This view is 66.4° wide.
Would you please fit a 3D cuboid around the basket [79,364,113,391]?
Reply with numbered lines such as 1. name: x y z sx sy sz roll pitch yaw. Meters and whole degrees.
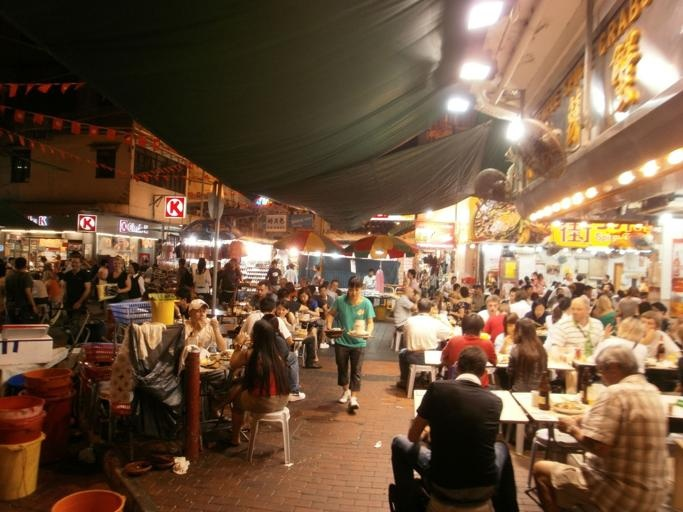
1. basket: -3.705 1.770 7.687 0.454 0.291 0.359 -1 -6 18

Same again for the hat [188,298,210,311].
1. hat: -2.212 0.732 7.847 0.229 0.116 0.172 -16 -12 42

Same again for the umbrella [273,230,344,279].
1. umbrella: -1.207 0.014 19.510 2.205 0.728 2.103 9 -8 -36

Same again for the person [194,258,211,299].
1. person: -4.265 0.688 15.744 0.475 1.189 0.979 -3 10 -19

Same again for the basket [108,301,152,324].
1. basket: -3.220 0.863 7.934 0.441 0.221 0.661 0 2 -14

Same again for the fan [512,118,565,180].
1. fan: 3.286 -1.779 8.660 0.223 1.087 1.071 -18 37 -12

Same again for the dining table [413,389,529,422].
1. dining table: 1.775 1.882 6.381 0.783 0.205 0.870 1 0 2

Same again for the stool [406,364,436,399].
1. stool: 1.481 2.380 9.960 0.647 0.639 0.659 4 -10 -10

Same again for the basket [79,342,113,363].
1. basket: -3.706 1.459 7.852 0.386 0.178 0.298 4 -3 -29

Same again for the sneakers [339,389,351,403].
1. sneakers: 0.041 2.609 9.633 0.119 0.138 0.339 -3 -10 13

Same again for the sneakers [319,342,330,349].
1. sneakers: -0.501 2.550 14.808 0.105 0.130 0.322 3 3 34

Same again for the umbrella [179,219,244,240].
1. umbrella: -5.392 -1.054 20.821 2.284 0.716 2.139 1 1 1

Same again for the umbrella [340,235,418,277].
1. umbrella: 1.144 -0.208 15.523 1.596 0.847 1.876 10 13 44

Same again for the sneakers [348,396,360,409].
1. sneakers: 0.188 2.595 9.130 0.179 0.239 0.219 1 9 3

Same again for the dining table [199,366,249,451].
1. dining table: -1.923 2.253 8.155 0.951 1.157 1.168 0 -3 9

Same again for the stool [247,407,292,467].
1. stool: -1.020 2.505 7.399 0.704 0.702 0.722 -1 -2 12

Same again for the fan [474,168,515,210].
1. fan: 4.980 -2.317 17.296 0.984 1.151 1.027 3 10 13
